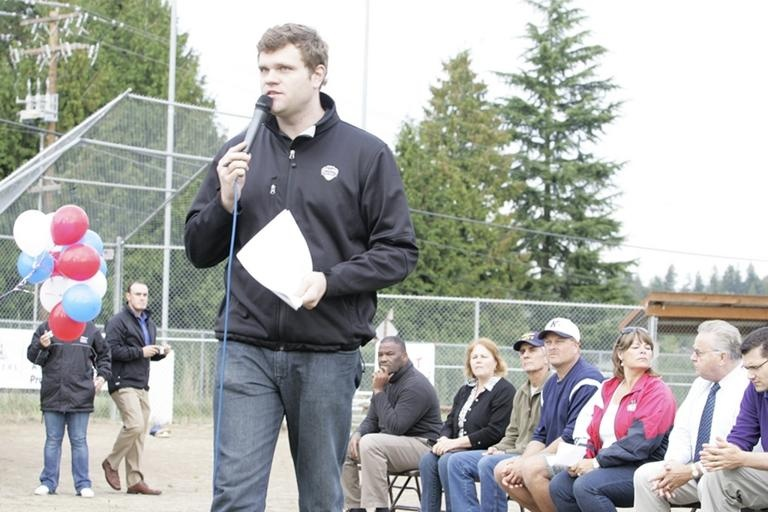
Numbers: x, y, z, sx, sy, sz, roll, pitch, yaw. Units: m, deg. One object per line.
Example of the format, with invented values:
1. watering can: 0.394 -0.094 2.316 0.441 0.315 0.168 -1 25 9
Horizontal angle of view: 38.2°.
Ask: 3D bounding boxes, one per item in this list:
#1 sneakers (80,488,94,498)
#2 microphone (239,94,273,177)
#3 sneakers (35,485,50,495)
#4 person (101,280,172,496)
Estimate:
1. sneakers: -4.058 3.219 15.213 0.203 0.128 0.284 4 -6 -14
2. microphone: -1.168 -1.197 10.324 0.269 0.557 0.278 3 -5 0
3. sneakers: -4.642 3.177 15.110 0.198 0.120 0.159 5 -6 -16
4. person: -3.599 1.888 16.081 0.945 3.011 1.169 -1 -1 6
